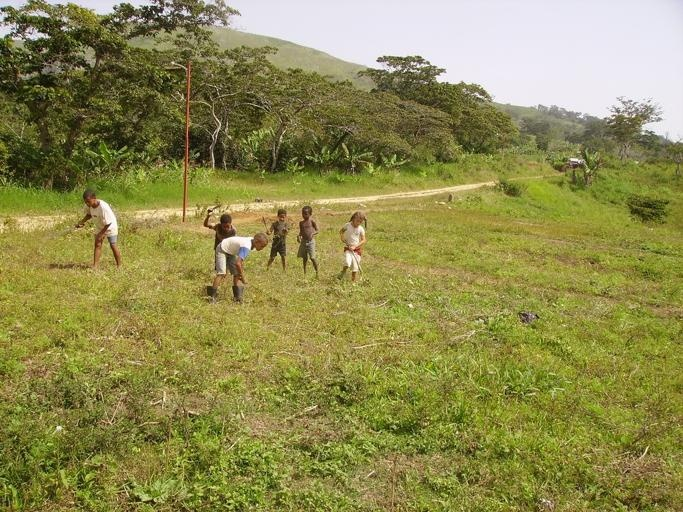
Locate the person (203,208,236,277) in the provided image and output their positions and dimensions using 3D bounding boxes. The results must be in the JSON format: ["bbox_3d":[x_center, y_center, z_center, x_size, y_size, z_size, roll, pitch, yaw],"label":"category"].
[{"bbox_3d":[-2.240,-0.233,11.134,0.716,1.593,0.523,0,30,-8],"label":"person"}]

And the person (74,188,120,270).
[{"bbox_3d":[-4.710,-0.588,11.434,0.771,1.484,1.045,0,10,-22],"label":"person"}]

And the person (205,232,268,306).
[{"bbox_3d":[-1.844,0.188,10.475,0.958,1.388,0.807,11,11,12],"label":"person"}]

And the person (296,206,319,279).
[{"bbox_3d":[-0.692,-0.423,12.871,0.485,1.440,1.674,3,9,-3],"label":"person"}]

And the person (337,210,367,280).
[{"bbox_3d":[0.258,-0.314,12.640,0.481,1.455,1.738,4,9,2],"label":"person"}]

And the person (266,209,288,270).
[{"bbox_3d":[-1.389,-0.444,12.901,0.429,1.341,1.781,3,10,-6],"label":"person"}]
